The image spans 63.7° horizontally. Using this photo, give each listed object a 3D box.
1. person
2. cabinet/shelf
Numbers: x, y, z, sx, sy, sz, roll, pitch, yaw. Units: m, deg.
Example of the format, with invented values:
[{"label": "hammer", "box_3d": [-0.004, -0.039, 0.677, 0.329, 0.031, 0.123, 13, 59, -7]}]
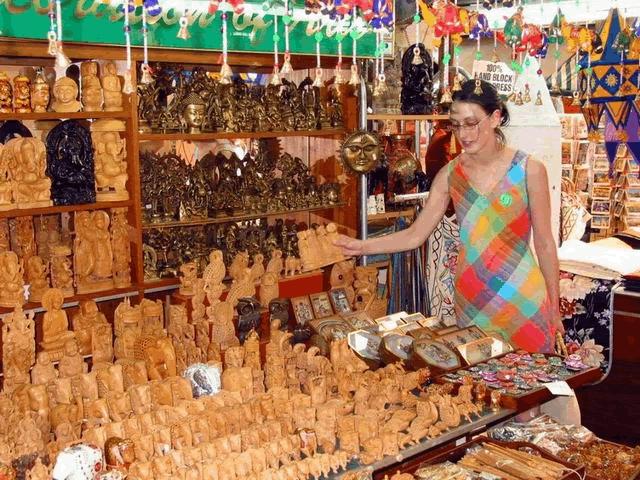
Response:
[{"label": "person", "box_3d": [0.738, 0.252, 2.780, 1.010, 2.017, 0.594, 0, 27, 23]}, {"label": "cabinet/shelf", "box_3d": [-0.937, -0.243, 3.210, 2.093, 1.217, 0.287, -12, 20, -34]}]
